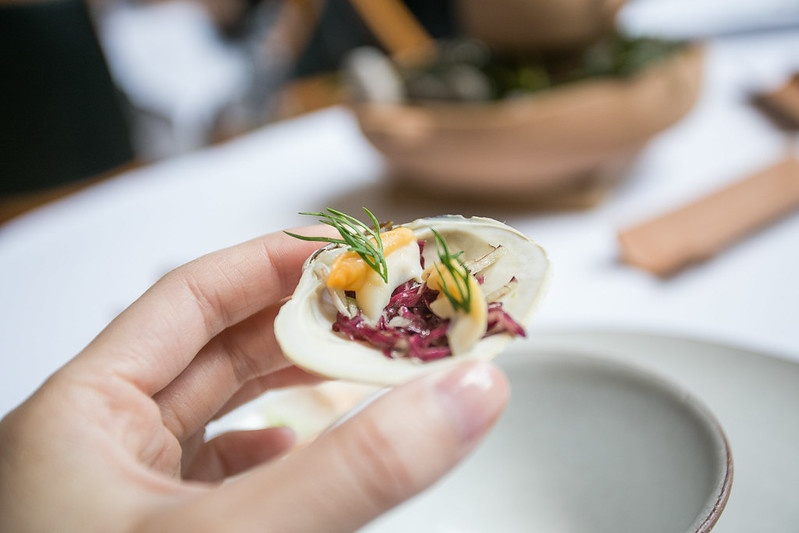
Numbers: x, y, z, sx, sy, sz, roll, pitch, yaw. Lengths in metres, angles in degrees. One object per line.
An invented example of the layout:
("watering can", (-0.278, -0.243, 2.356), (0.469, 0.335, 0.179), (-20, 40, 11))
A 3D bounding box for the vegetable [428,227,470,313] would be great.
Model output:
("vegetable", (0.136, 0.017, 1.542), (0.085, 0.064, 0.220), (-13, 88, 14))

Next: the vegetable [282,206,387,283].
("vegetable", (-0.136, -0.045, 1.733), (0.213, 0.089, 0.238), (-22, 59, -33))
